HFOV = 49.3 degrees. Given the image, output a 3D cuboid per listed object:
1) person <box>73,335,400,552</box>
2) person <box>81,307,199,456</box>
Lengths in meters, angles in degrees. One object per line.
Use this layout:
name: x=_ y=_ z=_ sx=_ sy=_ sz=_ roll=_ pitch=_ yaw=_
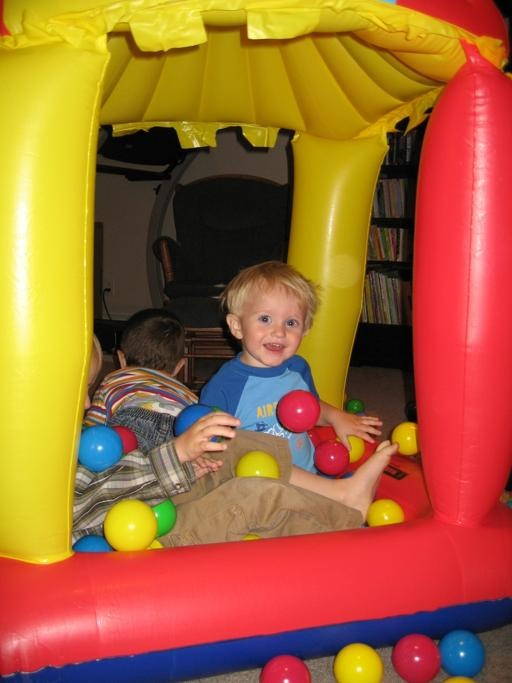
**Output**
person: x=-0.046 y=0.283 z=1.354 sx=0.913 sy=0.362 sz=0.476 roll=-1 pitch=45 yaw=-7
person: x=-0.357 y=0.125 z=1.829 sx=0.382 sy=0.294 sz=0.695 roll=12 pitch=26 yaw=-9
